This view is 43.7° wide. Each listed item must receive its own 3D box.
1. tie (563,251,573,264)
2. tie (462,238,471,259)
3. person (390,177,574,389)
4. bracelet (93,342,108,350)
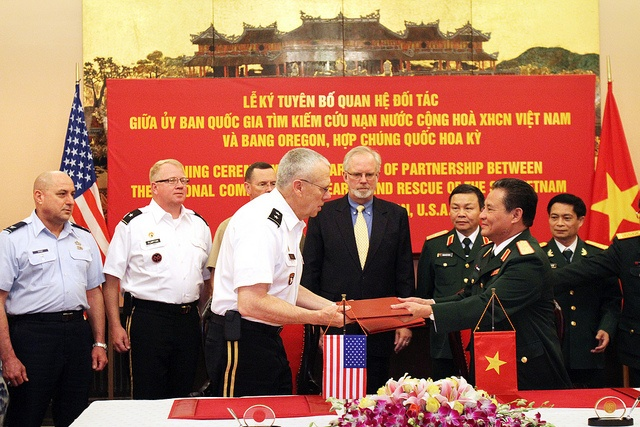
[{"bbox_3d":[2.356,0.420,7.577,0.071,0.124,0.029,-1,-13,14],"label":"tie"},{"bbox_3d":[1.368,0.340,7.474,0.074,0.166,0.038,0,-23,10],"label":"tie"},{"bbox_3d":[1.445,0.563,6.263,1.018,1.647,0.485,0,3,16],"label":"person"},{"bbox_3d":[-1.995,1.195,7.169,0.107,0.110,0.070,1,6,-14],"label":"bracelet"}]
